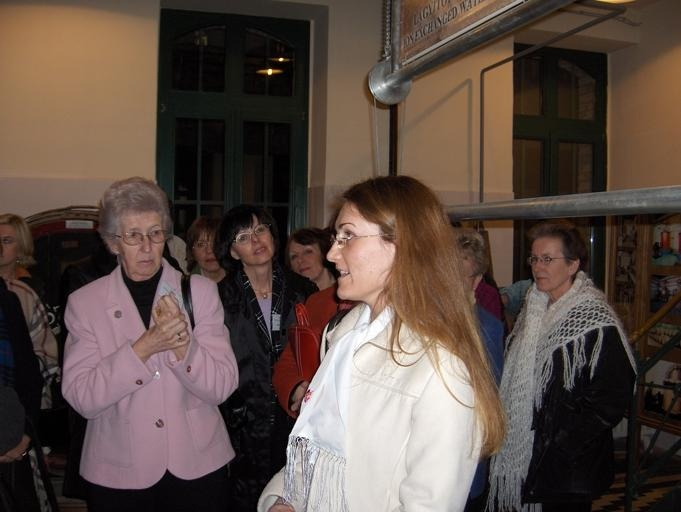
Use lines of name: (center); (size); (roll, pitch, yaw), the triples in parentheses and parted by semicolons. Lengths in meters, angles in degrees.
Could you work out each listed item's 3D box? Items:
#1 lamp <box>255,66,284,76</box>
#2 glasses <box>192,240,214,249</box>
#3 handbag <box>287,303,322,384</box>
lamp: (-0.721, -1.879, 5.938); (0.263, 0.090, 0.029); (-2, 4, -15)
glasses: (-1.059, -0.096, 4.516); (0.134, 0.048, 0.142); (0, -16, -7)
handbag: (-0.194, 0.450, 2.988); (0.139, 0.400, 0.286); (0, -14, -4)
